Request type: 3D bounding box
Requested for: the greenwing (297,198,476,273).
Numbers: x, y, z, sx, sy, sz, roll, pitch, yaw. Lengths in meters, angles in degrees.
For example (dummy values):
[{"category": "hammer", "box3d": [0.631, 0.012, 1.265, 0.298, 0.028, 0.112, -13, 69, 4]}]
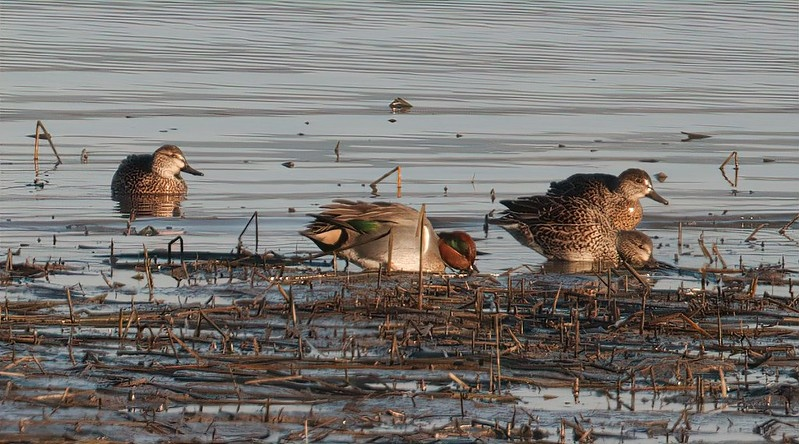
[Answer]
[{"category": "greenwing", "box3d": [-0.163, 0.321, 21.117, 3.077, 0.796, 1.258, 15, 5, 5]}]
